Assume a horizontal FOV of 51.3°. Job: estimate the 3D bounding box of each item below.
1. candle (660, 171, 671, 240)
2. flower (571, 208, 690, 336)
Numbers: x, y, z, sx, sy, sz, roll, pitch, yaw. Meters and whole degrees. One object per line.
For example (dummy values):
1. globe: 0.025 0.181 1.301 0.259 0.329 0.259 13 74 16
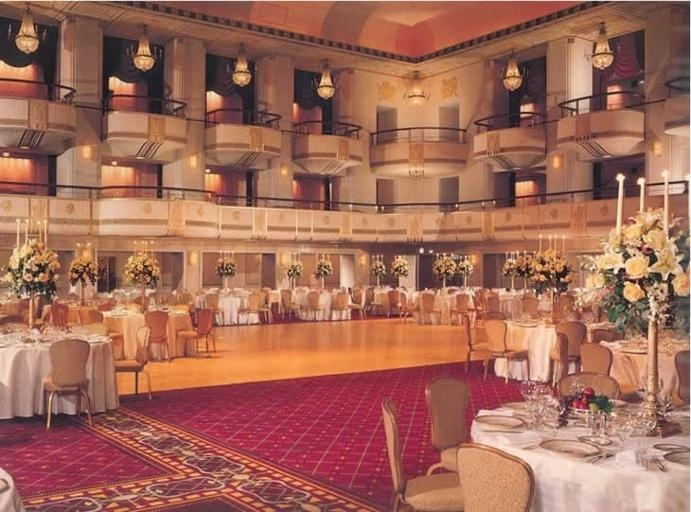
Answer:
1. candle: 2.579 -0.421 5.796 0.051 0.517 0.288 2 6 24
2. flower: 2.437 0.143 6.062 0.899 1.005 0.941 0 -2 -17
